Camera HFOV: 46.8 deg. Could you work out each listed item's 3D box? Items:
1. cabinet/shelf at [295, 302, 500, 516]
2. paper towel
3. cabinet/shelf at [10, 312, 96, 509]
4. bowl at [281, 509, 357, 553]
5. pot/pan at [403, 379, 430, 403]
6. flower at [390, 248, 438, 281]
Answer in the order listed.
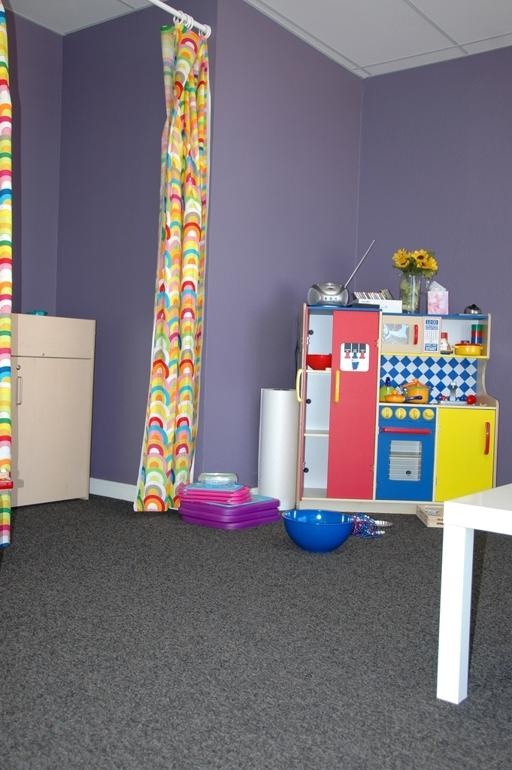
[{"bbox_3d":[0.877,0.195,3.788,1.191,1.368,0.413,0,-1,-1],"label":"cabinet/shelf"},{"bbox_3d":[0.143,0.452,3.808,0.251,0.742,0.171,2,-4,2],"label":"paper towel"},{"bbox_3d":[-1.343,0.210,3.755,0.525,1.114,0.373,-1,5,-37],"label":"cabinet/shelf"},{"bbox_3d":[0.289,0.722,2.838,0.329,0.168,0.293,2,-4,7],"label":"bowl"},{"bbox_3d":[1.064,0.086,3.967,0.146,0.160,0.149,-1,3,-2],"label":"pot/pan"},{"bbox_3d":[1.059,-0.744,3.991,0.263,0.179,0.220,1,-4,14],"label":"flower"}]
